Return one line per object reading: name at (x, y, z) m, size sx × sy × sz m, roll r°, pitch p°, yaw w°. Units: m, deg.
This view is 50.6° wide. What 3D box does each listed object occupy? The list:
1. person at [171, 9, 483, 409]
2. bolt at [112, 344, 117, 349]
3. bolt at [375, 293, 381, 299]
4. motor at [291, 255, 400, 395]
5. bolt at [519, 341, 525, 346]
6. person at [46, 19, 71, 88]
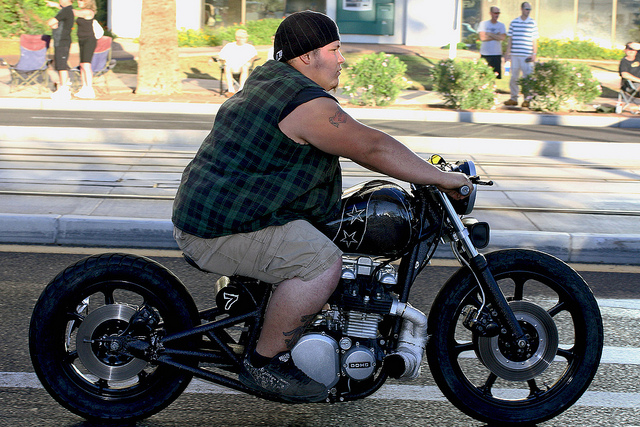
person at (-0.121, -0.025, 4.153) m, size 1.111 × 2.372 × 1.272 m, roll -17°, pitch 36°, yaw -39°
bolt at (-1.292, 0.834, 4.261) m, size 0.031 × 0.026 × 0.006 m, roll 13°, pitch 61°, yaw -25°
bolt at (0.353, 0.500, 4.131) m, size 0.028 × 0.032 × 0.021 m, roll 3°, pitch 26°, yaw -8°
motor at (0.135, 0.692, 4.401) m, size 0.837 × 0.811 × 0.472 m, roll 23°, pitch -4°, yaw -5°
bolt at (1.268, 0.817, 4.260) m, size 0.035 × 0.021 × 0.008 m, roll 2°, pitch 2°, yaw 2°
person at (-6.181, -3.831, 16.047) m, size 0.435 × 1.599 × 1.206 m, roll -2°, pitch 27°, yaw -20°
